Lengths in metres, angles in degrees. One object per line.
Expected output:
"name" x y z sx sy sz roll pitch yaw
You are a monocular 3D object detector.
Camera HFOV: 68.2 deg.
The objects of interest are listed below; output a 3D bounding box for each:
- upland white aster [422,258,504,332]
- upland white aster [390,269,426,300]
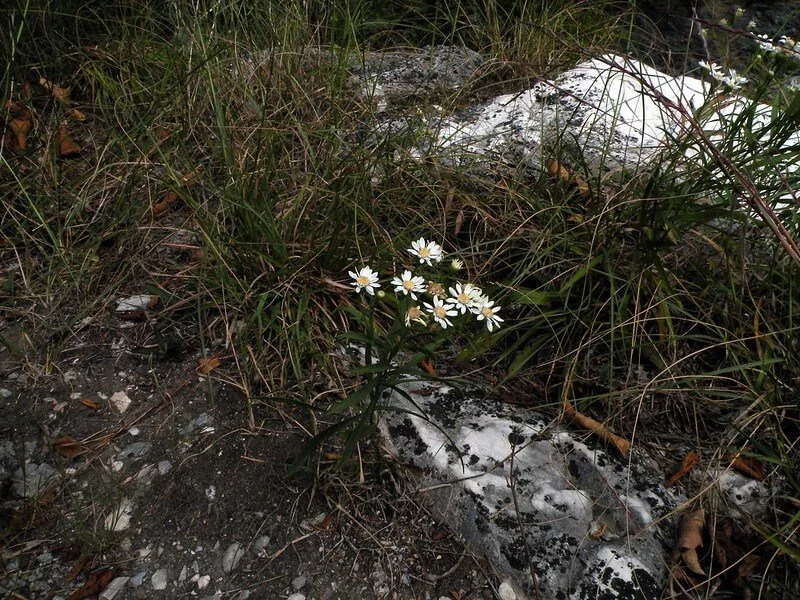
"upland white aster" 0.230 0.041 2.169 0.271 0.078 0.309 -2 64 4
"upland white aster" 0.030 -0.040 2.049 0.107 0.029 0.115 31 68 12
